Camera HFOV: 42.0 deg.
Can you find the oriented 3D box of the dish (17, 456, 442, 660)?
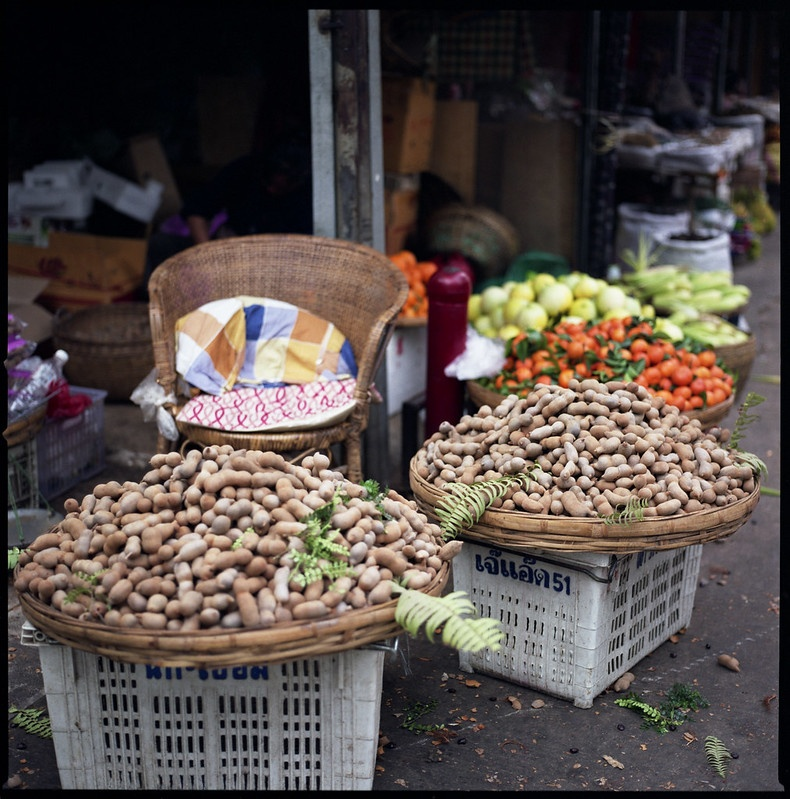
[{"bbox_3d":[-0.482,0.435,2.999,1.285,0.459,0.713,2,12,1],"label":"dish"}]

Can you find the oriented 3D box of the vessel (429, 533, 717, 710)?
[{"bbox_3d":[0.824,0.746,3.970,1.139,0.665,0.818,1,3,-44],"label":"vessel"}]
